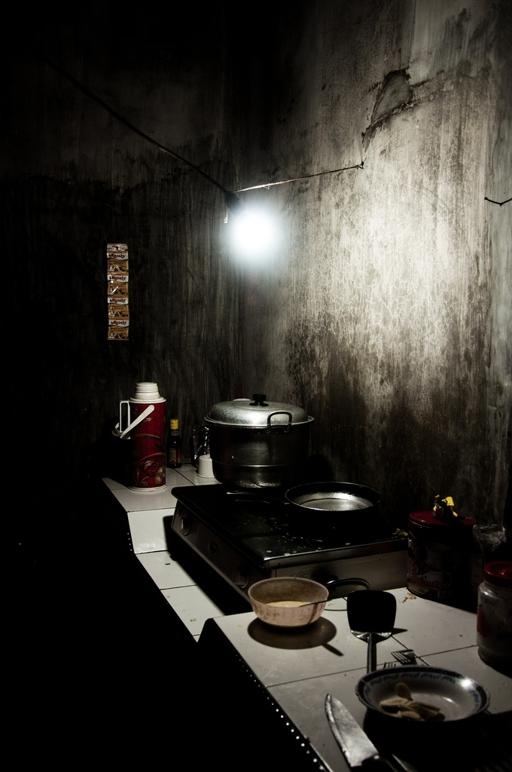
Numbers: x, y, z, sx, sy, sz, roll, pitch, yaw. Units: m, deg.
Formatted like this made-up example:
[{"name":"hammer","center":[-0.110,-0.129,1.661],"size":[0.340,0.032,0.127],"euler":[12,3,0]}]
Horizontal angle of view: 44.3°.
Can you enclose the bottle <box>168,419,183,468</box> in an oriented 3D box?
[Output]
[{"name":"bottle","center":[-0.435,0.291,3.325],"size":[0.073,0.265,0.302],"euler":[-2,5,-7]}]

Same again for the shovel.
[{"name":"shovel","center":[0.224,0.501,1.218],"size":[0.097,0.047,0.221],"euler":[-2,22,13]}]

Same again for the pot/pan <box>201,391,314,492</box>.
[{"name":"pot/pan","center":[-0.008,0.216,2.413],"size":[0.389,0.357,0.268],"euler":[2,6,30]}]

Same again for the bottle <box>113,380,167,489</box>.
[{"name":"bottle","center":[-0.558,0.228,3.001],"size":[0.252,0.490,0.415],"euler":[-2,5,-12]}]

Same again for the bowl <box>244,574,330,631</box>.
[{"name":"bowl","center":[0.073,0.508,1.432],"size":[0.166,0.093,0.158],"euler":[-2,6,0]}]

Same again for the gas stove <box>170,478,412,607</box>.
[{"name":"gas stove","center":[0.076,0.482,2.027],"size":[0.458,0.246,0.971],"euler":[-4,6,-23]}]

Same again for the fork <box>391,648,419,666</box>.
[{"name":"fork","center":[0.300,0.550,1.267],"size":[0.026,0.015,0.037],"euler":[-2,0,-8]}]
